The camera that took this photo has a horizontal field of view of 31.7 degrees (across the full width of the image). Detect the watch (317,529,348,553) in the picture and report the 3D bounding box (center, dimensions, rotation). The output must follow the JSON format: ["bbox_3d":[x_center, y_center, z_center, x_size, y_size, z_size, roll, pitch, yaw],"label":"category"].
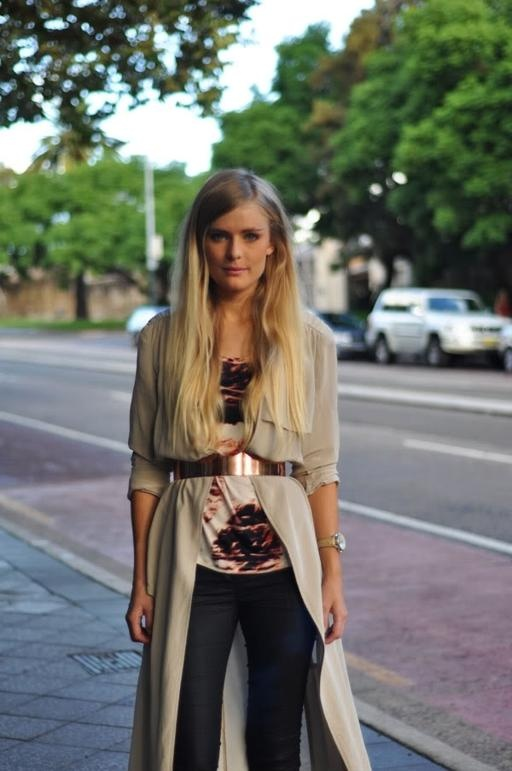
[{"bbox_3d":[0.164,0.336,1.933,0.055,0.031,0.045,-9,-14,33],"label":"watch"}]
